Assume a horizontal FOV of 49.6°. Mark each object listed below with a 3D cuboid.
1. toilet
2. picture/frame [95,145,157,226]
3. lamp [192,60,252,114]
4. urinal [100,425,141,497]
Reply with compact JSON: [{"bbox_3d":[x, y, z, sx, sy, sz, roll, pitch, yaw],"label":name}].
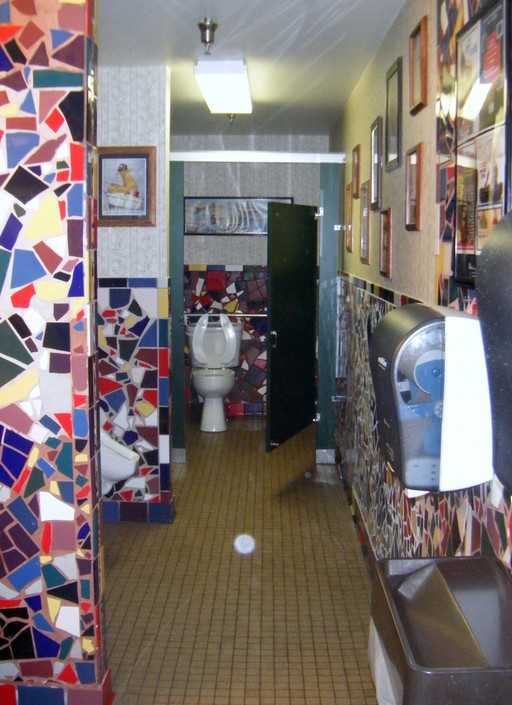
[{"bbox_3d":[-0.377,0.054,4.726,0.367,1.193,0.424,3,8,1],"label":"toilet"},{"bbox_3d":[-0.710,-0.902,3.044,0.314,0.633,0.044,1,-32,-18],"label":"picture/frame"},{"bbox_3d":[-0.164,-1.412,2.957,0.244,0.094,0.713,1,8,1],"label":"lamp"},{"bbox_3d":[-0.643,0.509,2.639,0.200,0.371,0.206,1,3,-6],"label":"urinal"}]
